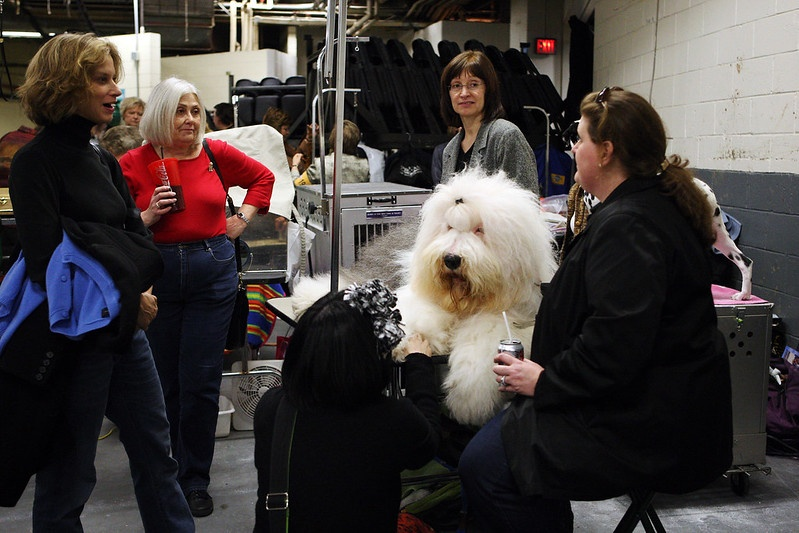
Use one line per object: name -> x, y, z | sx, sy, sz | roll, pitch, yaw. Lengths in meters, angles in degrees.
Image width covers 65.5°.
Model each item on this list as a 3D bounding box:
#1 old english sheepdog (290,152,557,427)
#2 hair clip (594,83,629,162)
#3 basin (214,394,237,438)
old english sheepdog -> 0.216, -0.018, 2.919 | 1.315, 0.808, 1.672 | 5, 11, 14
hair clip -> 0.729, -0.516, 2.178 | 0.090, 0.283, 0.105 | 2, 22, 8
basin -> -1.026, 0.903, 3.840 | 0.219, 0.202, 0.253 | 2, 5, -14
